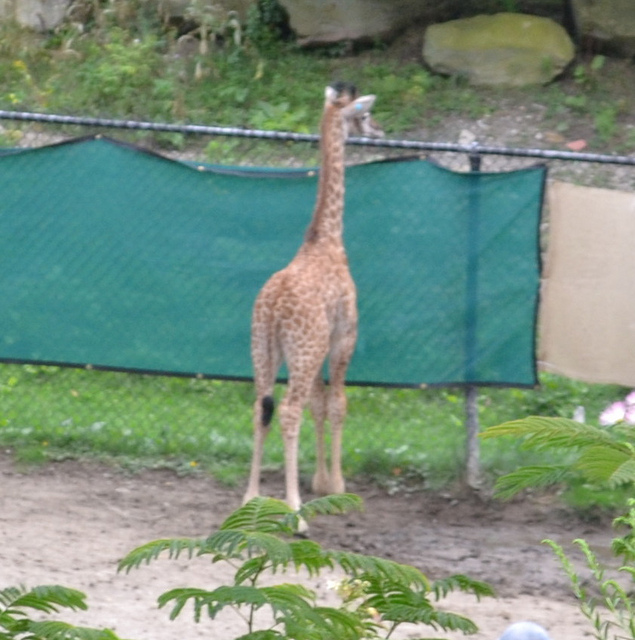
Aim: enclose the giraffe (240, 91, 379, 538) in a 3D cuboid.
[{"bbox_3d":[-0.059,-0.089,10.680,0.949,2.890,1.370,-2,7,1],"label":"giraffe"}]
